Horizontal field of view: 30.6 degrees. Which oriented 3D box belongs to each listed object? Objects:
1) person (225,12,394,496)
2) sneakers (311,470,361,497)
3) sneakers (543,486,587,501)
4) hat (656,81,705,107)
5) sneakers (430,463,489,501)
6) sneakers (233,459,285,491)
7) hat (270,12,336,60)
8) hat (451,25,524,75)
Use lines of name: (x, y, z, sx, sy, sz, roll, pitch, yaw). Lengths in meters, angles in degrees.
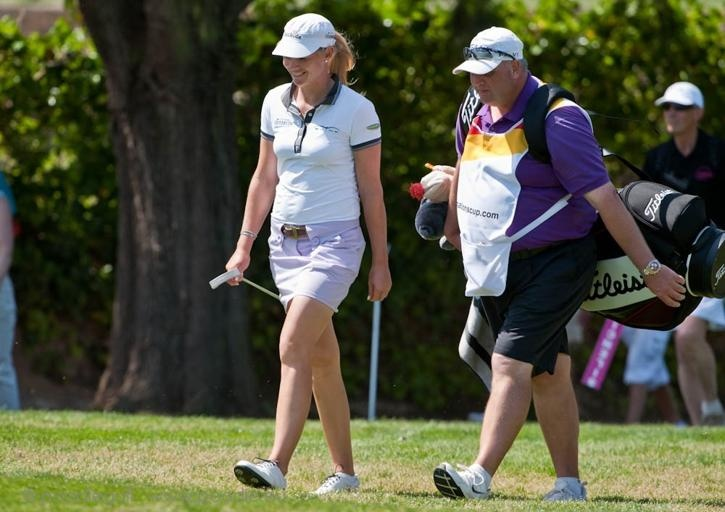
person: (-0.311, -0.032, 8.693, 1.011, 3.131, 0.571, 2, -3, -6)
sneakers: (-0.164, 1.496, 8.574, 0.320, 0.132, 0.107, -7, 10, -39)
sneakers: (1.332, 1.561, 8.567, 0.209, 0.084, 0.114, 3, -10, -10)
hat: (2.773, -1.379, 11.264, 0.316, 0.168, 0.238, 20, -7, -37)
sneakers: (0.628, 1.458, 8.449, 0.366, 0.221, 0.182, 23, -29, -6)
sneakers: (-0.646, 1.389, 8.366, 0.312, 0.180, 0.189, 2, -3, 4)
hat: (-0.380, -1.422, 8.697, 0.265, 0.186, 0.375, 20, 32, 34)
hat: (0.830, -1.349, 8.599, 0.412, 0.244, 0.286, -14, 16, -39)
